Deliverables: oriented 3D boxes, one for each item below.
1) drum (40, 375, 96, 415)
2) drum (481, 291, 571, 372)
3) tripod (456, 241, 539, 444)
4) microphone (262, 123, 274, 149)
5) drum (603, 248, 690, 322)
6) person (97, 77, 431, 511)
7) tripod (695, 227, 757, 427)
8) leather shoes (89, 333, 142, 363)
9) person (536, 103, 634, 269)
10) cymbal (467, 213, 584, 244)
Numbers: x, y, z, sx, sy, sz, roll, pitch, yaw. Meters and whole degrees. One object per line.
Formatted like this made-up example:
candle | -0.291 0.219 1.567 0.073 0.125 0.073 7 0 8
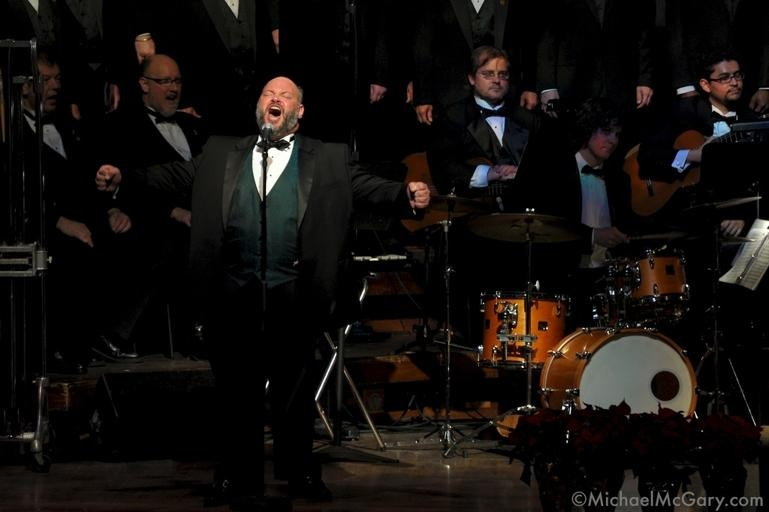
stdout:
drum | -2.048 0.954 6.439 0.214 0.221 0.374 11 -19 -39
drum | 0.981 0.522 6.646 0.590 0.402 0.559 1 -2 0
tripod | 0.851 0.575 6.790 0.497 1.450 1.018 3 5 11
microphone | -0.659 -0.678 5.290 0.049 0.051 0.169 -4 44 -2
drum | 1.892 0.227 6.774 0.574 0.363 0.549 0 -7 0
person | -0.576 0.182 5.499 1.113 2.418 0.479 1 5 -11
tripod | 2.453 0.484 6.726 0.412 1.382 1.061 4 6 18
leather shoes | -1.884 0.670 6.906 0.483 0.132 0.192 10 -1 -8
person | 1.537 -0.567 7.325 0.614 1.277 0.472 3 5 7
cymbal | 0.945 -0.205 6.626 0.397 0.092 0.376 8 -6 -1
